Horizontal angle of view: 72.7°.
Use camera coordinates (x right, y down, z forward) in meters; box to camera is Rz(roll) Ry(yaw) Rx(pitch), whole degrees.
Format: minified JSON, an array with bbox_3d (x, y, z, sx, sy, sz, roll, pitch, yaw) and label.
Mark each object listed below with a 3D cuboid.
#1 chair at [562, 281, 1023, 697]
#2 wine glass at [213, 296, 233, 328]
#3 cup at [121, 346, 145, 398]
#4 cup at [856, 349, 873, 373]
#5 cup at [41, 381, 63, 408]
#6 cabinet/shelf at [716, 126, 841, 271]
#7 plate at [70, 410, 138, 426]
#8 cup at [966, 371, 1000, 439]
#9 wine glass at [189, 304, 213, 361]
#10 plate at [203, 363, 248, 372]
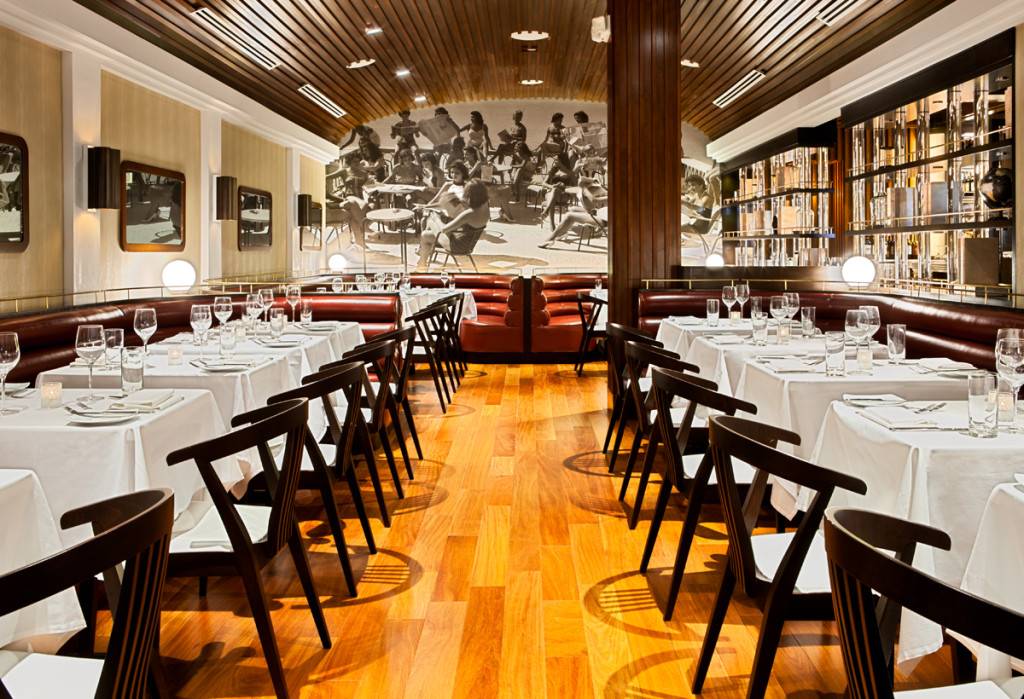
[{"bbox_3d":[1.248,0.620,3.207,0.896,1.593,1.470,-2,14,-8],"label":"chair"},{"bbox_3d":[-1.864,-0.251,4.559,0.093,0.166,0.251,-3,10,-16],"label":"wine glass"},{"bbox_3d":[-1.775,0.094,3.298,0.095,0.199,0.283,-5,11,-28],"label":"cup"},{"bbox_3d":[1.882,0.051,3.794,0.062,0.136,0.127,-1,-3,5],"label":"cup"},{"bbox_3d":[-2.013,0.200,3.106,0.092,0.125,0.098,2,-1,0],"label":"cup"},{"bbox_3d":[4.235,-2.137,11.071,0.616,2.138,1.966,-13,10,-28],"label":"cabinet/shelf"},{"bbox_3d":[-1.657,0.285,2.855,0.100,0.025,0.159,2,2,15],"label":"plate"},{"bbox_3d":[1.750,0.197,2.593,0.089,0.231,0.181,8,12,42],"label":"cup"},{"bbox_3d":[-1.893,-0.135,4.309,0.102,0.330,0.408,-4,10,-25],"label":"wine glass"},{"bbox_3d":[-1.582,0.096,3.910,0.235,0.025,0.140,0,10,4],"label":"plate"}]
